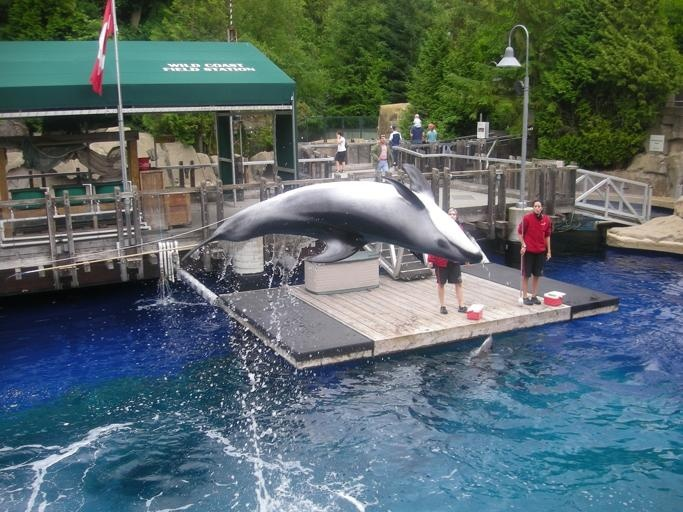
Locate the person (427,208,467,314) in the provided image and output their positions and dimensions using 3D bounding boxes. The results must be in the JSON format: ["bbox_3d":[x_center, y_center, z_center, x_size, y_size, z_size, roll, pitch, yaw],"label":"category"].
[{"bbox_3d":[2.626,0.123,14.864,0.882,2.530,1.234,0,1,-13],"label":"person"}]

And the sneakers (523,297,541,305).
[{"bbox_3d":[4.829,1.141,15.554,0.380,0.122,0.193,-4,15,-11],"label":"sneakers"}]

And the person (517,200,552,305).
[{"bbox_3d":[4.715,-0.091,15.370,0.984,2.502,1.151,0,1,-8],"label":"person"}]

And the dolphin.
[{"bbox_3d":[0.259,-0.686,10.800,4.153,1.722,1.278,-4,7,-3],"label":"dolphin"}]
